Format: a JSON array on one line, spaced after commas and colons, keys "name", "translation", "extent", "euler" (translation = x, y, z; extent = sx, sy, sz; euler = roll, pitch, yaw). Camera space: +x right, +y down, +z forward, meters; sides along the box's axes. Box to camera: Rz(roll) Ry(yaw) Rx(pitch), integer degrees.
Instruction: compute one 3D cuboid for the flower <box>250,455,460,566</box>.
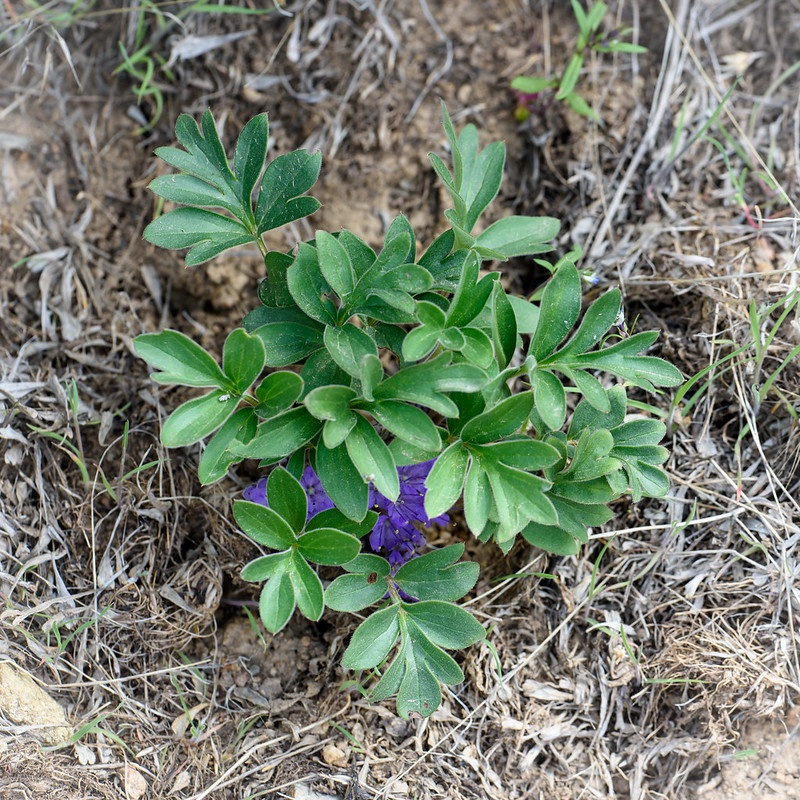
[{"name": "flower", "translation": [-0.031, 0.269, 1.984], "extent": [0.306, 0.115, 0.324], "euler": [-1, 59, -9]}]
